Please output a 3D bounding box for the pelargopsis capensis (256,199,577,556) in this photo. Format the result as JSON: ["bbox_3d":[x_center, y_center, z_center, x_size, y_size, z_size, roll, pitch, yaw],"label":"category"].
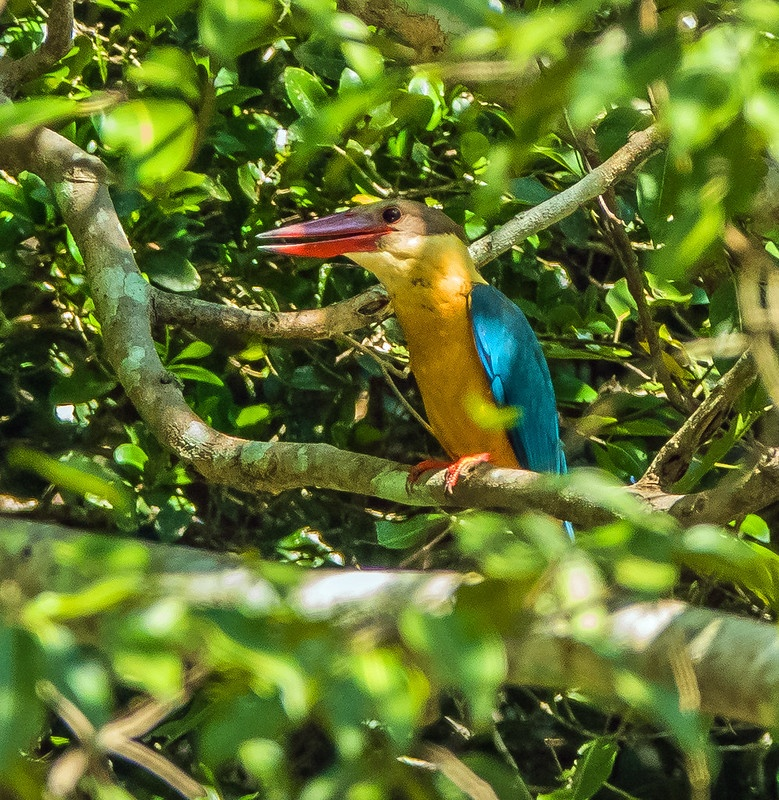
[{"bbox_3d":[0.127,-0.113,3.022,0.963,0.748,0.361,-4,6,-38],"label":"pelargopsis capensis"}]
